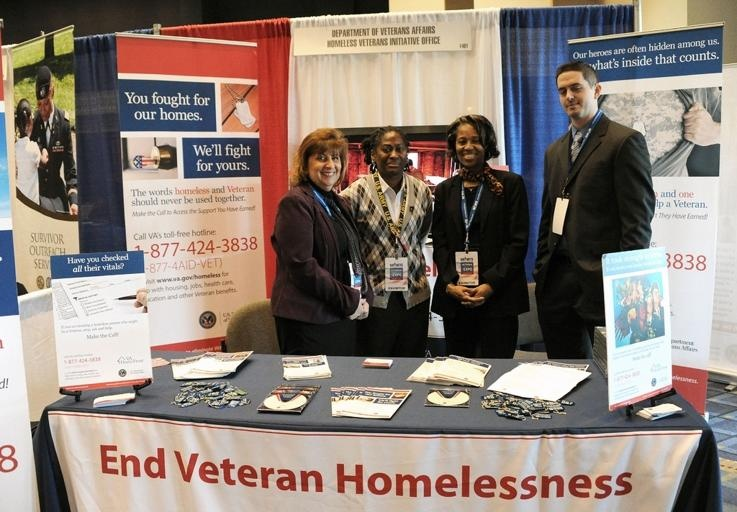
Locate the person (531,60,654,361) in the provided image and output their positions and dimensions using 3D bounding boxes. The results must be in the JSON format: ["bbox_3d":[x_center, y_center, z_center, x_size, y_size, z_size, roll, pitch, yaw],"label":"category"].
[{"bbox_3d":[1.294,-0.241,3.999,0.686,1.780,0.418,3,11,35],"label":"person"}]

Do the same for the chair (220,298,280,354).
[{"bbox_3d":[-0.730,0.441,4.271,0.305,0.398,0.336,-1,1,-20],"label":"chair"}]

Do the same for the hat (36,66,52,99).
[{"bbox_3d":[-2.567,-1.353,5.390,0.167,0.248,0.072,0,1,17],"label":"hat"}]

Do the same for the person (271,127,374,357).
[{"bbox_3d":[-0.310,-0.061,4.040,0.586,1.358,0.424,-4,9,-3],"label":"person"}]

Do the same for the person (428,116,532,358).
[{"bbox_3d":[0.683,-0.116,4.330,0.620,1.542,0.471,4,12,39],"label":"person"}]
